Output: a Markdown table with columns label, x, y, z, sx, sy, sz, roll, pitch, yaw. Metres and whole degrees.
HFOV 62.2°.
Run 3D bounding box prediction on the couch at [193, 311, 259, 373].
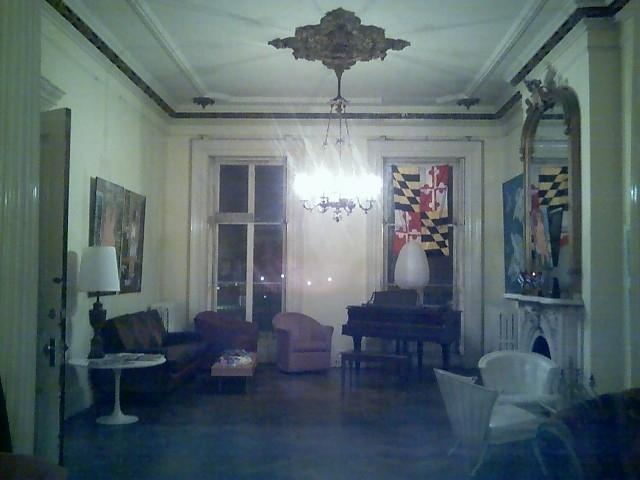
| label | x | y | z | sx | sy | sz | roll | pitch | yaw |
| --- | --- | --- | --- | --- | --- | --- | --- | --- | --- |
| couch | -1.685 | 1.544 | 9.120 | 0.971 | 0.831 | 1.017 | -7 | 4 | 6 |

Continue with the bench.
| label | x | y | z | sx | sy | sz | roll | pitch | yaw |
| --- | --- | --- | --- | --- | --- | --- | --- | --- | --- |
| bench | 0.873 | 1.906 | 7.774 | 1.016 | 0.654 | 0.740 | -3 | 0 | 25 |

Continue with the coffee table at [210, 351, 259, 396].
| label | x | y | z | sx | sy | sz | roll | pitch | yaw |
| --- | --- | --- | --- | --- | --- | --- | --- | --- | --- |
| coffee table | -1.236 | 1.930 | 7.700 | 0.575 | 0.450 | 1.005 | 0 | 1 | -7 |

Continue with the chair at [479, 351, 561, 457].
| label | x | y | z | sx | sy | sz | roll | pitch | yaw |
| --- | --- | --- | --- | --- | --- | --- | --- | --- | --- |
| chair | 1.904 | 1.545 | 5.128 | 0.722 | 0.908 | 0.884 | -8 | -7 | 14 |

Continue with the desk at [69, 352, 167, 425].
| label | x | y | z | sx | sy | sz | roll | pitch | yaw |
| --- | --- | --- | --- | --- | --- | --- | --- | --- | --- |
| desk | -2.462 | 1.786 | 6.474 | 1.075 | 0.749 | 0.770 | 0 | 1 | -13 |

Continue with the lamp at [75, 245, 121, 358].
| label | x | y | z | sx | sy | sz | roll | pitch | yaw |
| --- | --- | --- | --- | --- | --- | --- | --- | --- | --- |
| lamp | -2.737 | 0.760 | 6.546 | 0.427 | 1.379 | 0.724 | -1 | 1 | -24 |

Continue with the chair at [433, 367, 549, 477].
| label | x | y | z | sx | sy | sz | roll | pitch | yaw |
| --- | --- | --- | --- | --- | --- | --- | --- | --- | --- |
| chair | 1.526 | 1.644 | 4.918 | 1.006 | 0.943 | 0.880 | -2 | -1 | -21 |

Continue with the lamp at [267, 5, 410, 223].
| label | x | y | z | sx | sy | sz | roll | pitch | yaw |
| --- | --- | --- | --- | --- | --- | --- | --- | --- | --- |
| lamp | 0.328 | -1.974 | 8.181 | 2.147 | 3.058 | 1.234 | 1 | -7 | -6 |

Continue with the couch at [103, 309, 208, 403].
| label | x | y | z | sx | sy | sz | roll | pitch | yaw |
| --- | --- | --- | --- | --- | --- | --- | --- | --- | --- |
| couch | -2.316 | 1.593 | 7.664 | 0.914 | 1.135 | 1.760 | -4 | -3 | -3 |

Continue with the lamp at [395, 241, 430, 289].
| label | x | y | z | sx | sy | sz | roll | pitch | yaw |
| --- | --- | --- | --- | --- | --- | --- | --- | --- | --- |
| lamp | 1.510 | 0.411 | 8.696 | 0.592 | 0.886 | 0.612 | 8 | 21 | 33 |
